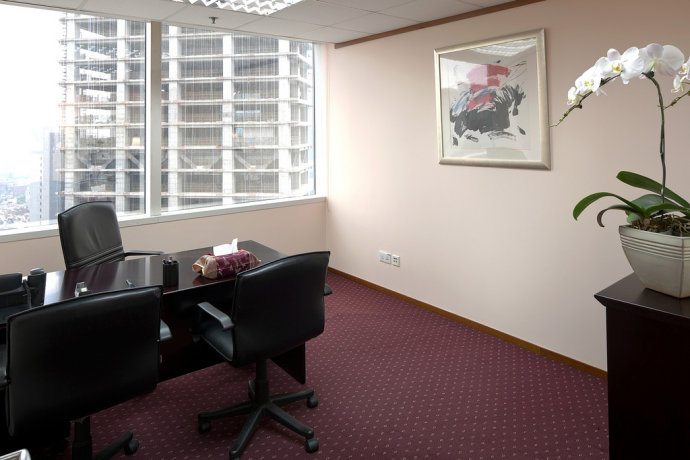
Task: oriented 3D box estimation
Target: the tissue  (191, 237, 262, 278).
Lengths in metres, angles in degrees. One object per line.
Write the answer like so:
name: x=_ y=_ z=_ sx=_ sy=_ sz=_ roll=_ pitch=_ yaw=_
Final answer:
tissue : x=-0.921 y=0.219 z=3.509 sx=0.404 sy=0.198 sz=0.284 roll=-8 pitch=13 yaw=-41
